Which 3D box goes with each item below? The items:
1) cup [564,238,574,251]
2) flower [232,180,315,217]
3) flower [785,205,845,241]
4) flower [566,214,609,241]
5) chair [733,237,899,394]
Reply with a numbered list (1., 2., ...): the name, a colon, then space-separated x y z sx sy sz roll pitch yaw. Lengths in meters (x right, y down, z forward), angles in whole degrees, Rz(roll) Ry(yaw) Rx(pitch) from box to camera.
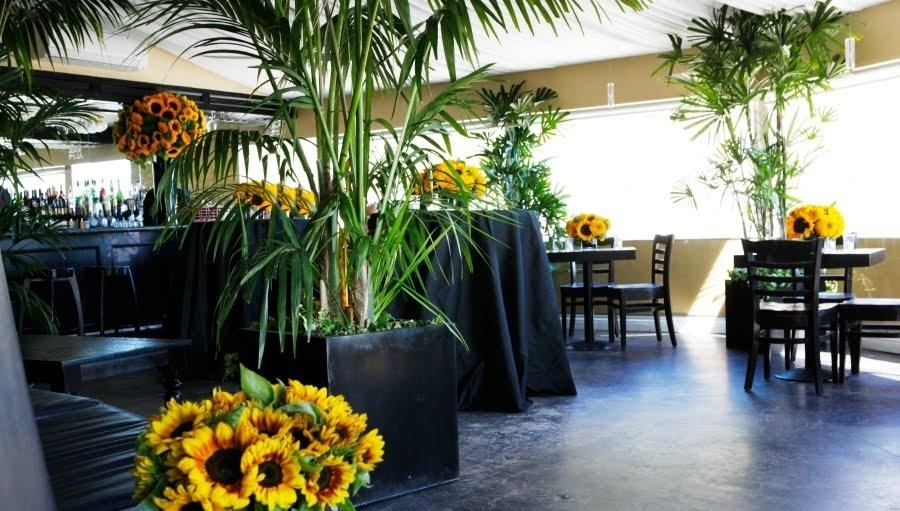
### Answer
1. cup: 1.349 -0.134 6.415 0.087 0.083 0.154 0 16 10
2. flower: -0.927 -0.311 3.031 0.301 0.106 0.307 14 4 39
3. flower: 3.293 -0.304 5.059 0.449 0.282 0.502 -7 -6 34
4. flower: 1.539 -0.343 6.358 0.359 0.354 0.117 -11 -24 13
5. chair: 3.055 0.445 4.657 1.122 1.233 1.591 1 6 27
